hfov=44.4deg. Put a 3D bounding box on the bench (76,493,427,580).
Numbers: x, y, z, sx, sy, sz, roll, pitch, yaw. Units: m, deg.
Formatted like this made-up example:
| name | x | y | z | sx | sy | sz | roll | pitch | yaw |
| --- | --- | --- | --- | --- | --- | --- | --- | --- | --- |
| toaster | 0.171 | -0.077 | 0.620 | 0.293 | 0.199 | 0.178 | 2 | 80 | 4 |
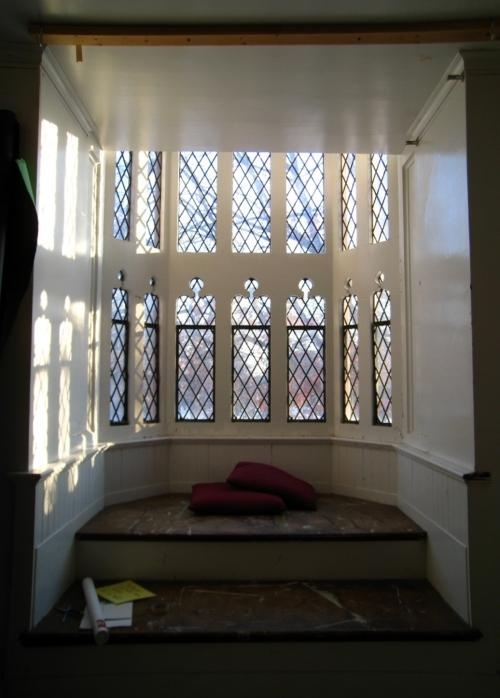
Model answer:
| name | x | y | z | sx | sy | sz | roll | pitch | yaw |
| --- | --- | --- | --- | --- | --- | --- | --- | --- | --- |
| bench | 0.007 | 1.231 | 3.980 | 2.097 | 0.287 | 0.676 | 0 | 1 | 0 |
